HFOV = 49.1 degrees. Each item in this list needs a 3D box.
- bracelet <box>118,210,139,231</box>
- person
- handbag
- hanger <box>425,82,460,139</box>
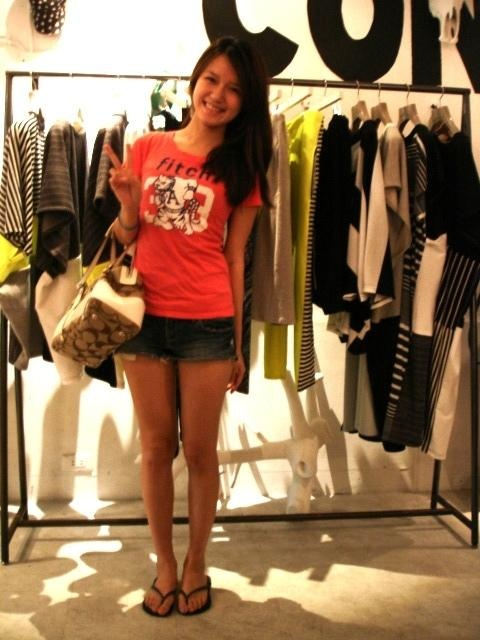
[{"bbox_3d":[-0.298,-0.262,1.405,0.034,0.071,0.023,1,22,2],"label":"bracelet"},{"bbox_3d":[-0.140,0.026,1.509,0.500,1.255,0.278,1,0,-26],"label":"person"},{"bbox_3d":[-0.352,0.042,1.350,0.149,0.335,0.162,23,21,-29],"label":"handbag"},{"bbox_3d":[0.748,-0.741,1.989,0.021,0.338,0.141,26,-25,-35],"label":"hanger"}]
